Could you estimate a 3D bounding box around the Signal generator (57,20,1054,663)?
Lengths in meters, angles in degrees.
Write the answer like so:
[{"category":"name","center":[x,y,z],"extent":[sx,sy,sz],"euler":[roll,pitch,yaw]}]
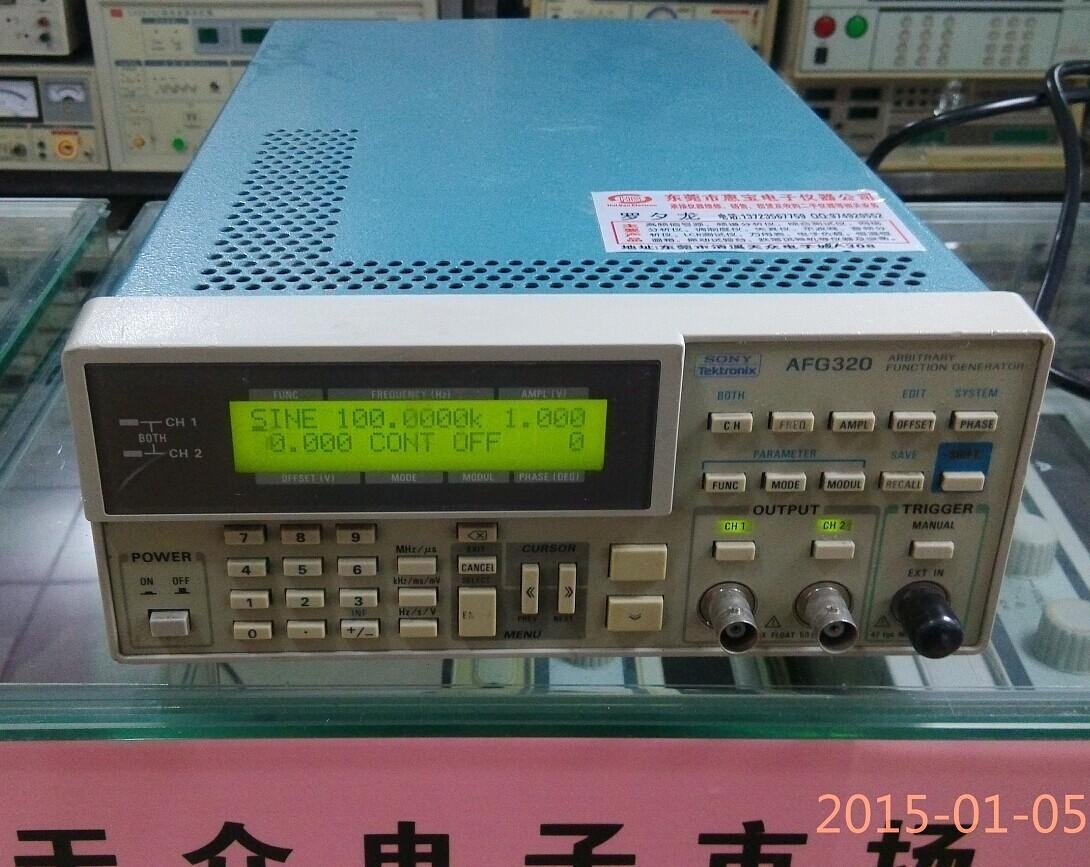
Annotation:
[{"category":"Signal generator","center":[0.001,-0.107,1.013],"extent":[0.965,0.368,0.602],"euler":[0,35,-1]}]
